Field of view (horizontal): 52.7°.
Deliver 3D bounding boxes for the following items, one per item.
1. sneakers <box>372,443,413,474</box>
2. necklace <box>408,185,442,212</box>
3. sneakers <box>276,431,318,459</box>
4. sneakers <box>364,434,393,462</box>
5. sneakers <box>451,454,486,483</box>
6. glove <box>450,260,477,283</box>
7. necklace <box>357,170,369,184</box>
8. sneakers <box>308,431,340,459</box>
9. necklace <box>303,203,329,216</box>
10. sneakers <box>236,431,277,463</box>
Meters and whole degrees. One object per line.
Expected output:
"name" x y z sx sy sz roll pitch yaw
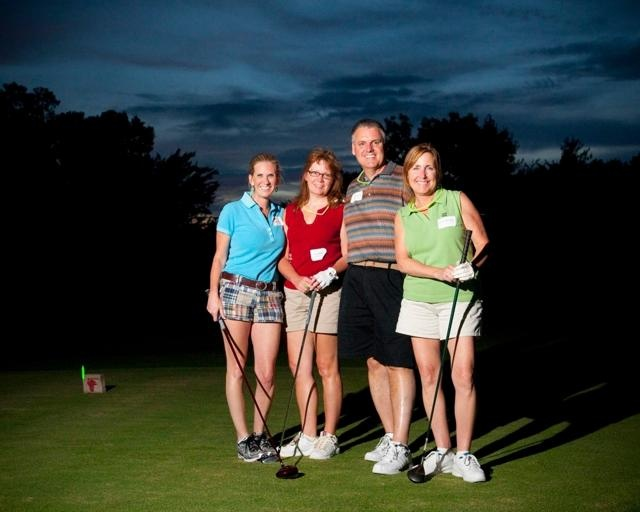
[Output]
"sneakers" 0.560 1.575 5.025 0.179 0.194 0.352 0 6 36
"necklace" 0.841 -0.432 5.107 0.198 0.168 0.229 2 -22 -1
"sneakers" -0.170 1.635 5.571 0.373 0.159 0.139 8 3 -33
"sneakers" 0.489 1.597 5.341 0.119 0.135 0.349 0 -7 35
"sneakers" 1.100 1.556 4.807 0.156 0.191 0.291 -6 6 -23
"glove" 1.072 0.129 4.789 0.169 0.158 0.212 -3 5 12
"necklace" 0.387 -0.671 5.711 0.105 0.051 0.121 3 36 -28
"sneakers" 0.034 1.614 5.455 0.237 0.178 0.311 -3 5 6
"necklace" -0.037 -0.394 5.714 0.176 0.116 0.041 -14 -30 -5
"sneakers" -0.509 1.571 5.270 0.191 0.122 0.302 8 -16 -33
